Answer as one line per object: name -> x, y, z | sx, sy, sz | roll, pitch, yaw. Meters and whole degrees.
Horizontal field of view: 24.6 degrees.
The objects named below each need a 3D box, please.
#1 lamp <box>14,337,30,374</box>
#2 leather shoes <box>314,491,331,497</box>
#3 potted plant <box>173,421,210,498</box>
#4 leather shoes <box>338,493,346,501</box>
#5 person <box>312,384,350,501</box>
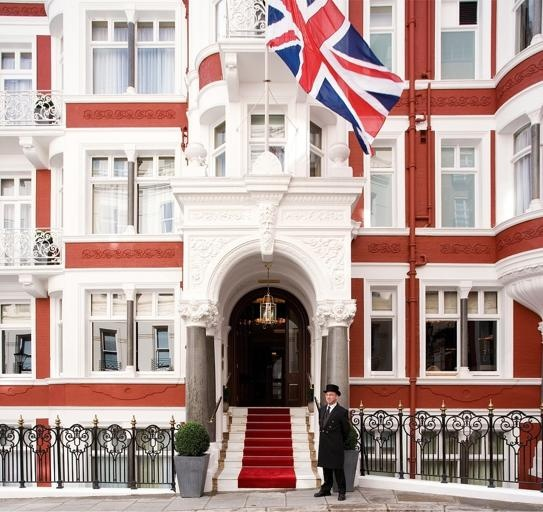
lamp -> -6.645, 2.715, 32.937 | 0.294, 0.857, 0.298 | 4, 3, 43
leather shoes -> 1.076, 5.137, 26.827 | 0.381, 0.170, 0.131 | 7, -10, -10
potted plant -> -1.764, 4.481, 27.287 | 0.730, 1.629, 0.626 | 1, -9, -5
leather shoes -> 1.478, 5.155, 26.555 | 0.165, 0.154, 0.295 | 0, -9, 1
person -> 1.295, 4.027, 26.828 | 0.746, 2.467, 0.637 | 0, -9, 2
